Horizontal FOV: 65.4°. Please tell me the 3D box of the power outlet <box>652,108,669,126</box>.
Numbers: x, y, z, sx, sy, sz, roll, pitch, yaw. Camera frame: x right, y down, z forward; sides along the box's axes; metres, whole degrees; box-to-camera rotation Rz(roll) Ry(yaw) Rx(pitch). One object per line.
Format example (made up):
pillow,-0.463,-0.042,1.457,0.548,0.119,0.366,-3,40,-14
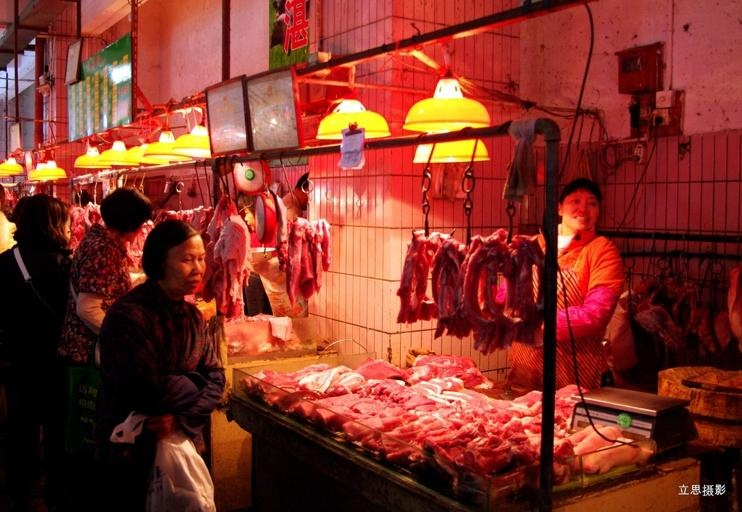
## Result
power outlet,2.371,-1.145,4.746,0.120,0.136,0.036,2,3,29
